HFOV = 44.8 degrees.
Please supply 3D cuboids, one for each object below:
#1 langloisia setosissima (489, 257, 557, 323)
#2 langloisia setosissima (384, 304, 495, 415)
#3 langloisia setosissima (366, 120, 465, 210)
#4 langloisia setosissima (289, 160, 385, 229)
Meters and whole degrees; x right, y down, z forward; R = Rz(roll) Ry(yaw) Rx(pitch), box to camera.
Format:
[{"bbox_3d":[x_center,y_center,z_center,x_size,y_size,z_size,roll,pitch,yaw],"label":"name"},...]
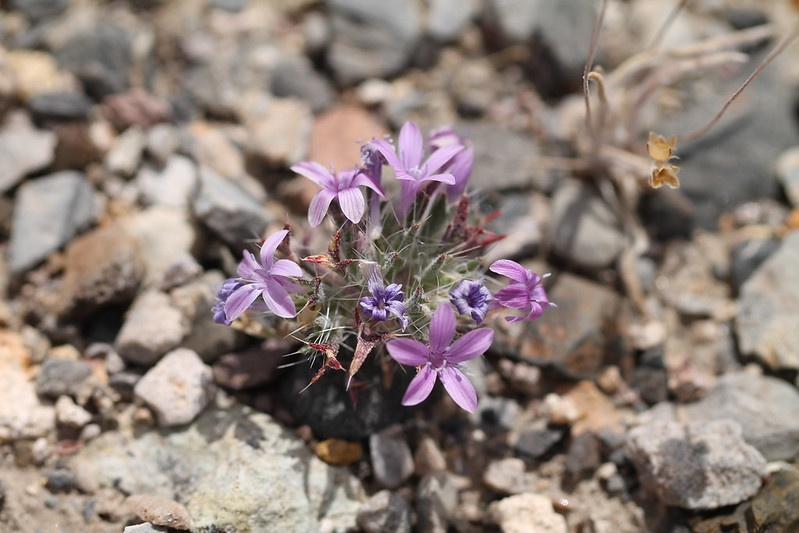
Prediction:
[{"bbox_3d":[0.898,0.240,7.385,0.433,0.536,0.354,-4,56,-8],"label":"langloisia setosissima"},{"bbox_3d":[0.307,0.675,7.175,0.761,0.341,0.827,-22,95,3],"label":"langloisia setosissima"},{"bbox_3d":[0.142,-0.787,7.367,0.505,0.827,0.502,14,19,38],"label":"langloisia setosissima"},{"bbox_3d":[-0.514,-0.472,7.411,0.707,0.445,0.532,23,57,9],"label":"langloisia setosissima"}]
